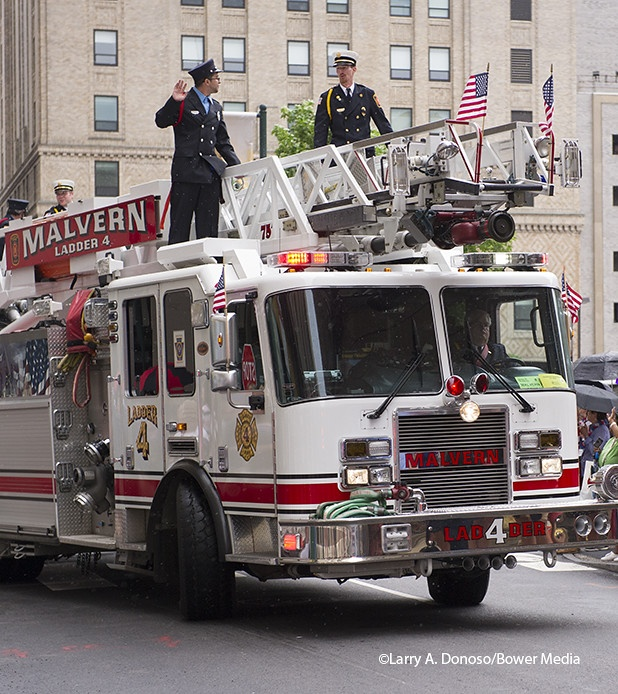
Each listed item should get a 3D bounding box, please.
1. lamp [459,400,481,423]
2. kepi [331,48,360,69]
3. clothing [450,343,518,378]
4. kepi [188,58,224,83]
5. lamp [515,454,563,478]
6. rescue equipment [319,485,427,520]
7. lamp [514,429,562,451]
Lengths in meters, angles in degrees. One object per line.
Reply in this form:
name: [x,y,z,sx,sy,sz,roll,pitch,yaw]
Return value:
lamp: [1.114,0.458,9.808,0.134,0.142,0.033,-35,19,-23]
kepi: [0.420,-2.799,13.724,0.194,0.130,0.240,-1,-7,7]
clothing: [1.253,0.114,10.143,0.388,0.182,0.210,5,-9,-20]
kepi: [-0.767,-2.325,12.152,0.247,0.138,0.210,-18,19,16]
lamp: [1.617,0.870,10.161,0.393,0.106,0.041,1,-1,-38]
rescue equipment: [0.479,1.065,9.539,0.428,0.170,0.295,-3,-5,-6]
lamp: [1.608,0.681,10.169,0.375,0.096,0.033,1,-1,-32]
